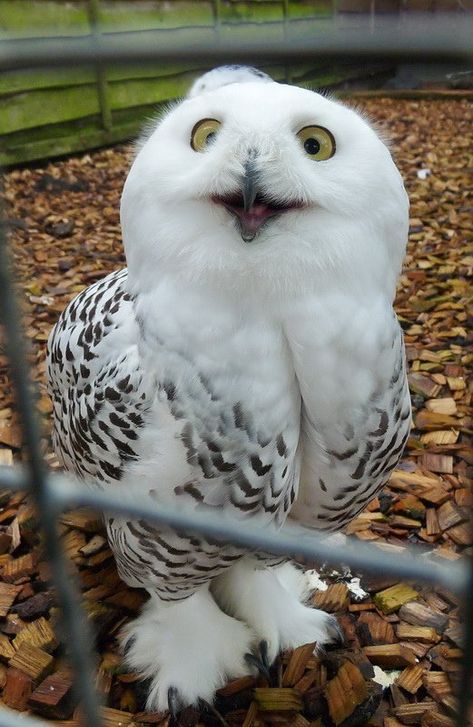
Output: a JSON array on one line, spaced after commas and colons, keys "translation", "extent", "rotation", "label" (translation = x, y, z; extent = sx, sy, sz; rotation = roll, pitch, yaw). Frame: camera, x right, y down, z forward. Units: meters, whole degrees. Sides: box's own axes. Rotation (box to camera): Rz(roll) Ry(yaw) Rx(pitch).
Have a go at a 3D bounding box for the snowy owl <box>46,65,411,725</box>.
[{"translation": [-0.028, 0.114, 1.332], "extent": [0.630, 1.141, 0.391], "rotation": [1, 34, 10], "label": "snowy owl"}]
